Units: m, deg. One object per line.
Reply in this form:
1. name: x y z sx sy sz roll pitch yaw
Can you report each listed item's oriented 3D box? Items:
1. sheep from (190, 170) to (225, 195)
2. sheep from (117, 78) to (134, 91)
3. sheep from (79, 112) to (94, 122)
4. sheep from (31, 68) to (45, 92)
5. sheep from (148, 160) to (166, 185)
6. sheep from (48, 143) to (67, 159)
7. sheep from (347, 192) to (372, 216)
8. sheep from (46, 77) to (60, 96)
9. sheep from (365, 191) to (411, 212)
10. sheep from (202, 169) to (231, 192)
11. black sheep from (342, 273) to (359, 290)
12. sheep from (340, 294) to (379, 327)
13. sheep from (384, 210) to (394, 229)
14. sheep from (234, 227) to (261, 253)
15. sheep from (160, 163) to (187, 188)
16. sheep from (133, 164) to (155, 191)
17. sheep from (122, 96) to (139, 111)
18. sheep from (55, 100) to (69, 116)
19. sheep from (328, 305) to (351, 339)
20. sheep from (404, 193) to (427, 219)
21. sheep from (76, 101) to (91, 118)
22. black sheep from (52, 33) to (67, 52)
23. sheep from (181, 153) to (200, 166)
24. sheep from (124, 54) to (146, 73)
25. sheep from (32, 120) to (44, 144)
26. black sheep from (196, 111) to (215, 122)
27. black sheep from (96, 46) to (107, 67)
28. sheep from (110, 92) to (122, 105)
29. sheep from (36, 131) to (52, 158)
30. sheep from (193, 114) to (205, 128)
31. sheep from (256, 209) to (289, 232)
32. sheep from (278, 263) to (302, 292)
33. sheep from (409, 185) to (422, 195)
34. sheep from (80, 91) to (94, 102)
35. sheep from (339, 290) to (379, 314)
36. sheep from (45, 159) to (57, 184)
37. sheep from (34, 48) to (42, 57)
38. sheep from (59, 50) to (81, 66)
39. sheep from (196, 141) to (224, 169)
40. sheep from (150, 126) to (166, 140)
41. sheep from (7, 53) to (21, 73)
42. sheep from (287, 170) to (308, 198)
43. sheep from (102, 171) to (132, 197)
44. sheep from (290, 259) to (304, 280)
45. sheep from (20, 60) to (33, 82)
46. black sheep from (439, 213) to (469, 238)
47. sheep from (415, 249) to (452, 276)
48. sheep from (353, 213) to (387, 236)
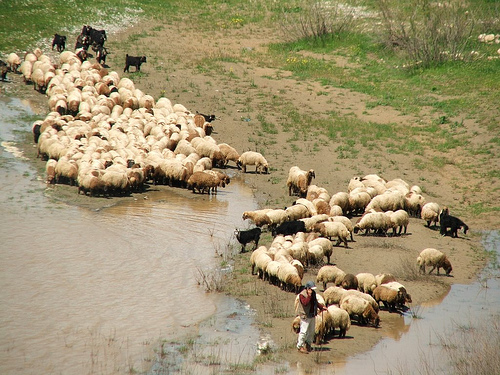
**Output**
1. sheep: -2.064 -0.259 39.334 1.829 1.008 0.500 3 3 7
2. sheep: -6.967 -5.854 46.583 0.621 0.480 0.841 5 2 -10
3. sheep: -8.464 -3.664 42.366 0.512 0.293 0.723 17 26 33
4. sheep: -11.936 -6.096 46.794 0.582 1.127 1.025 -14 27 -35
5. sheep: -4.185 -0.783 39.338 0.422 0.895 1.521 -10 26 -26
6. sheep: -9.111 -1.719 38.963 0.998 0.708 0.426 15 25 29
7. sheep: 5.003 0.710 37.642 1.673 0.957 0.617 -9 17 -35
8. sheep: -10.843 -5.607 45.515 0.725 0.707 1.595 -3 22 -13
9. sheep: 6.252 0.654 37.261 2.186 0.763 0.700 -9 24 -25
10. sheep: -1.700 -0.471 39.583 1.888 1.057 0.565 6 6 -35
11. black sheep: 3.847 3.586 31.442 0.654 0.558 0.537 1 22 -4
12. sheep: 4.127 4.574 30.585 1.731 0.973 0.544 16 23 39
13. sheep: 6.034 1.282 35.894 0.237 0.908 0.463 4 -9 43
14. sheep: -0.065 2.136 34.294 1.395 1.052 0.433 -8 10 -35
15. sheep: -3.804 -0.575 39.455 0.617 1.181 1.870 -7 -5 40
16. sheep: -5.061 -0.734 38.827 0.494 0.899 1.557 7 19 13
17. sheep: -6.531 -4.663 45.150 0.596 0.662 1.109 14 25 27
18. sheep: -9.942 -4.184 43.510 0.648 0.777 1.008 1 22 -3
19. sheep: 3.202 4.866 29.921 0.801 0.983 0.457 4 22 6
20. sheep: 7.491 0.672 37.587 0.640 1.077 1.420 1 4 -8
21. sheep: -8.683 -4.121 43.242 0.378 0.590 1.078 13 29 -20
22. black sheep: -11.819 -9.016 51.143 0.770 1.088 1.082 -6 23 -20
23. sheep: -2.908 -1.411 40.264 0.364 0.603 1.060 14 29 13
24. sheep: -7.074 -7.622 50.528 1.281 1.013 1.067 -6 23 -19
25. sheep: -10.685 -2.861 41.251 0.373 0.955 0.727 8 -6 -30
26. black sheep: -2.375 -3.921 45.078 0.889 0.294 0.466 3 27 -9
27. black sheep: -9.179 -8.185 50.992 0.646 1.158 1.675 -2 22 -10
28. sheep: -7.289 -4.969 45.236 0.343 0.678 0.532 -22 -9 30
29. sheep: -9.868 -2.183 40.012 0.410 1.503 0.796 13 44 -24
30. sheep: -2.752 -3.682 44.719 0.610 0.496 0.775 0 22 -6
31. sheep: 0.927 1.357 35.457 1.319 0.694 0.662 -13 1 16
32. sheep: 1.538 3.333 31.469 0.499 0.640 0.969 -14 27 -35
33. sheep: 7.784 0.082 38.819 0.301 0.429 0.631 7 41 21
34. sheep: -8.765 -4.965 44.315 0.510 0.293 0.516 5 31 36
35. sheep: 3.985 4.224 30.486 1.316 0.710 0.347 16 20 1
36. sheep: -9.096 -0.754 37.715 0.373 0.639 1.275 0 46 -8
37. sheep: -12.540 -8.008 48.804 0.397 0.534 0.295 -13 -5 -2
38. sheep: -10.785 -7.830 49.215 1.439 0.625 0.782 21 65 41
39. sheep: -1.941 -1.699 42.118 0.760 1.268 1.803 -16 28 -39
40. sheep: -4.730 -2.878 42.092 0.668 0.369 0.662 18 -1 -36
41. sheep: -13.718 -7.287 48.115 0.722 1.140 0.787 -5 23 -16
42. sheep: 2.255 -0.190 39.043 0.764 1.074 1.355 -9 24 -25
43. sheep: -6.078 -0.380 37.858 1.647 1.209 0.793 0 35 -21
44. sheep: 1.740 3.125 32.007 0.341 0.670 0.821 -13 44 -19
45. sheep: -12.760 -6.820 47.395 0.480 0.734 1.280 7 37 -22
46. black sheep: 9.022 1.679 36.071 1.354 1.001 0.735 6 25 13
47. sheep: 7.462 3.024 33.349 1.552 0.982 0.531 16 8 32
48. sheep: 5.349 1.493 35.881 1.535 1.045 0.701 -6 24 8
